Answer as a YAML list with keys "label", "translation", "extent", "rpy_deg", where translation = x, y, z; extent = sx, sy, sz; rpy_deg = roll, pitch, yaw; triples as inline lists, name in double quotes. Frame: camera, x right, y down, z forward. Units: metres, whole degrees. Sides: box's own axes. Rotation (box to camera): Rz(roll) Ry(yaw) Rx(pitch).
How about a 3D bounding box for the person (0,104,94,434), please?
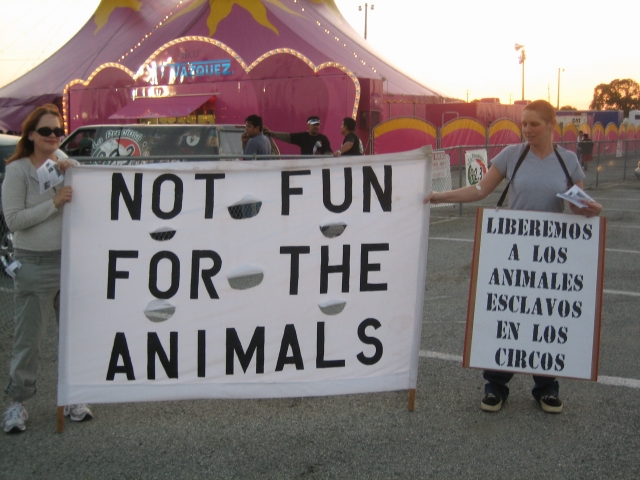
- label: "person"
  translation: [-2.213, 0.188, 5.354]
  extent: [0.704, 2.376, 0.710]
  rpy_deg: [-7, 14, -29]

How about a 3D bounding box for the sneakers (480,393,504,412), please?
- label: "sneakers"
  translation: [1.377, 1.286, 5.469]
  extent: [0.183, 0.123, 0.148]
  rpy_deg: [2, 14, 12]

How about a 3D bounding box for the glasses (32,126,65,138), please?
- label: "glasses"
  translation: [-2.083, -0.830, 5.301]
  extent: [0.200, 0.090, 0.099]
  rpy_deg: [-8, 15, -26]

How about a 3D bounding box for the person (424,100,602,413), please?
- label: "person"
  translation: [1.648, 0.078, 5.595]
  extent: [1.185, 2.409, 0.886]
  rpy_deg: [0, 12, 3]

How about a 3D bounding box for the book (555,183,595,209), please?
- label: "book"
  translation: [1.967, -0.282, 5.336]
  extent: [0.197, 0.065, 0.208]
  rpy_deg: [-22, 56, -38]

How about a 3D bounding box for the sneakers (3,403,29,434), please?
- label: "sneakers"
  translation: [-2.324, 1.364, 5.236]
  extent: [0.154, 0.237, 0.075]
  rpy_deg: [0, -33, -26]

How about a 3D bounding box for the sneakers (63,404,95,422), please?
- label: "sneakers"
  translation: [-1.898, 1.351, 5.404]
  extent: [0.168, 0.089, 0.139]
  rpy_deg: [6, 9, -21]

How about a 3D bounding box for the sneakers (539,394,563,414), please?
- label: "sneakers"
  translation: [1.828, 1.291, 5.407]
  extent: [0.088, 0.100, 0.217]
  rpy_deg: [-2, 7, 2]
